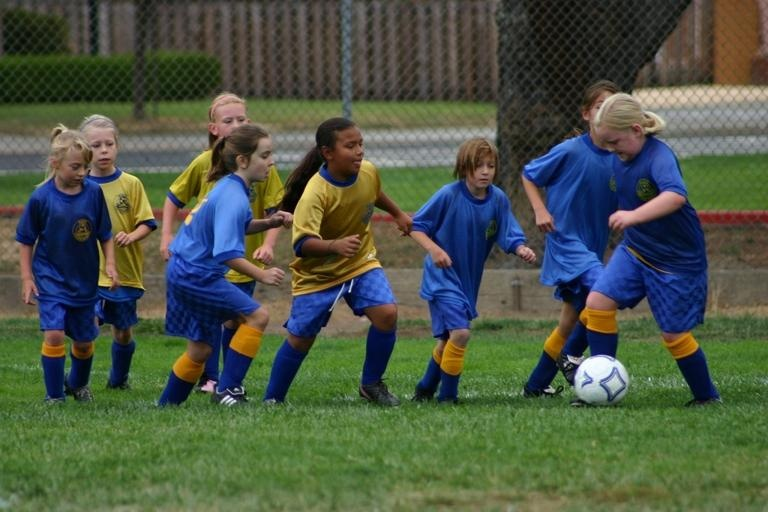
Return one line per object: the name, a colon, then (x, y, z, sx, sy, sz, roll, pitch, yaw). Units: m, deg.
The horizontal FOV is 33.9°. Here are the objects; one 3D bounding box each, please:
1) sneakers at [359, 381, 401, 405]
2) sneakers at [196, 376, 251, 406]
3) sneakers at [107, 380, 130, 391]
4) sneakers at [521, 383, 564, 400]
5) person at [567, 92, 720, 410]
sneakers: (-0.023, 1.124, 10.452, 0.226, 0.169, 0.535, 0, 7, -27)
sneakers: (-1.397, 1.137, 10.614, 0.558, 0.259, 0.205, 1, 3, 38)
sneakers: (-2.335, 1.125, 11.060, 0.221, 0.104, 0.077, 1, 11, -3)
sneakers: (1.330, 1.138, 10.707, 0.367, 0.161, 0.127, -3, 12, -3)
person: (2.134, -0.026, 10.049, 1.060, 2.484, 0.643, 4, 5, 9)
